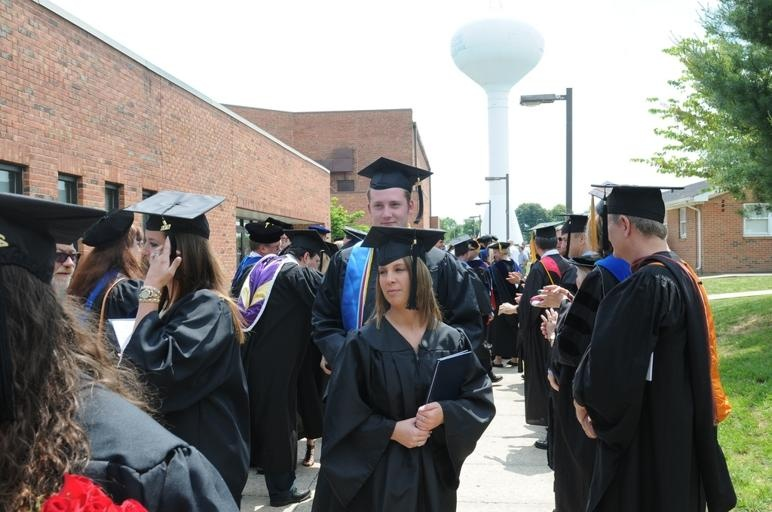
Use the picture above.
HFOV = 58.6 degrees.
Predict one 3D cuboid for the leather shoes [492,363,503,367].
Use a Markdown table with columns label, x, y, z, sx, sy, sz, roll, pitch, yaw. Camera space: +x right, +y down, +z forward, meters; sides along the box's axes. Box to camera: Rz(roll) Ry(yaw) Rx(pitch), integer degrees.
| label | x | y | z | sx | sy | sz | roll | pitch | yaw |
| --- | --- | --- | --- | --- | --- | --- | --- | --- | --- |
| leather shoes | 2.097 | 2.068 | 12.986 | 0.196 | 0.080 | 0.070 | 4 | 0 | -2 |

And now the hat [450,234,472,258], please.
| label | x | y | z | sx | sy | sz | roll | pitch | yaw |
| --- | --- | --- | --- | --- | --- | --- | --- | --- | --- |
| hat | 1.365 | -0.184 | 12.166 | 0.396 | 0.270 | 0.531 | -22 | 7 | -15 |

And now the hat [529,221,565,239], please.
| label | x | y | z | sx | sy | sz | roll | pitch | yaw |
| --- | --- | --- | --- | --- | --- | --- | --- | --- | --- |
| hat | 2.133 | -0.353 | 9.464 | 0.332 | 0.175 | 0.363 | 0 | 8 | 43 |

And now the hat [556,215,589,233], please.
| label | x | y | z | sx | sy | sz | roll | pitch | yaw |
| --- | --- | --- | --- | --- | --- | --- | --- | --- | --- |
| hat | 2.294 | -0.373 | 8.377 | 0.289 | 0.168 | 0.273 | 7 | 19 | 24 |

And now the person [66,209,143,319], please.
| label | x | y | z | sx | sy | sz | roll | pitch | yaw |
| --- | --- | --- | --- | --- | --- | --- | --- | --- | --- |
| person | -2.231 | 0.091 | 5.519 | 0.600 | 0.771 | 0.315 | 12 | -10 | 36 |

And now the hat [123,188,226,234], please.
| label | x | y | z | sx | sy | sz | roll | pitch | yaw |
| --- | --- | --- | --- | --- | --- | --- | --- | --- | --- |
| hat | -1.658 | -0.362 | 5.392 | 0.498 | 0.255 | 0.474 | 6 | 27 | 16 |

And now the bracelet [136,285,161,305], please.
| label | x | y | z | sx | sy | sz | roll | pitch | yaw |
| --- | --- | --- | --- | --- | --- | --- | --- | --- | --- |
| bracelet | -1.725 | 0.287 | 5.045 | 0.158 | 0.100 | 0.156 | 2 | 1 | -4 |

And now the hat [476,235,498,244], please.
| label | x | y | z | sx | sy | sz | roll | pitch | yaw |
| --- | --- | --- | --- | --- | --- | --- | --- | --- | --- |
| hat | 2.229 | -0.370 | 15.586 | 0.303 | 0.126 | 0.374 | -1 | 2 | -17 |

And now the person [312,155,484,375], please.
| label | x | y | z | sx | sy | sz | roll | pitch | yaw |
| --- | --- | --- | --- | --- | --- | --- | --- | --- | --- |
| person | 0.088 | 0.152 | 5.922 | 1.504 | 1.803 | 1.154 | -5 | -4 | 13 |
